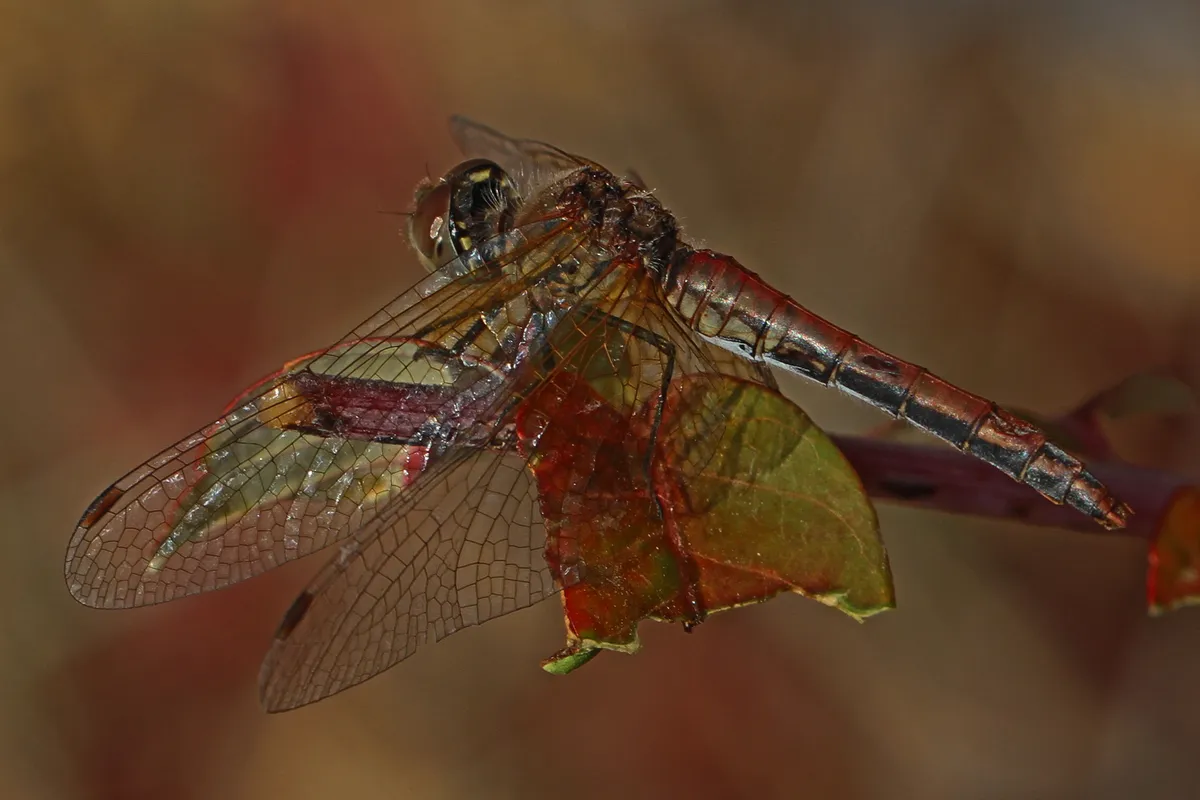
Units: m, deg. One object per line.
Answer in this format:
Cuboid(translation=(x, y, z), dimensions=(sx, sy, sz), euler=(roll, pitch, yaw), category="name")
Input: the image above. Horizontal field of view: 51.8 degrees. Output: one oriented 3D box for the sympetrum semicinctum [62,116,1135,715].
Cuboid(translation=(-0.079, -0.002, 2.295), dimensions=(1.324, 0.520, 1.099), euler=(19, -46, -5), category="sympetrum semicinctum")
